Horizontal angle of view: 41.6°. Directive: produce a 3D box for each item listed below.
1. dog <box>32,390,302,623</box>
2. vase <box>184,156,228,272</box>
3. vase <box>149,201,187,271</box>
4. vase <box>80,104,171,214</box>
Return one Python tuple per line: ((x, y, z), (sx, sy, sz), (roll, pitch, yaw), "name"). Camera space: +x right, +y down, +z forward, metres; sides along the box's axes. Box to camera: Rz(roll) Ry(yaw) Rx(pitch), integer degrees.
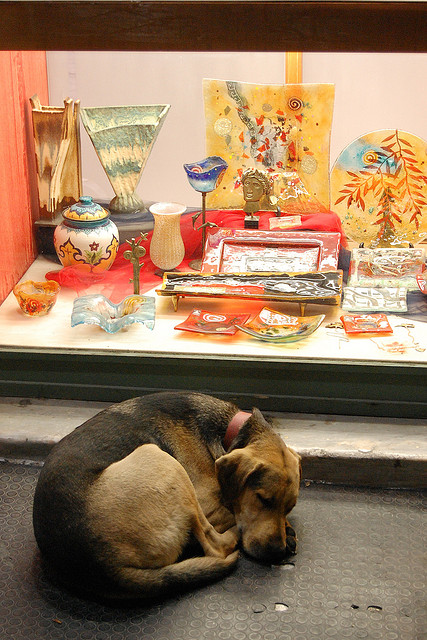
((-0.054, 0.288, 0.979), (0.416, 0.194, 0.316), (-9, 9, -43), "dog")
((-0.021, -0.308, 1.643), (0.114, 0.327, 0.229), (0, 15, 0), "vase")
((-0.130, -0.249, 1.683), (0.114, 0.210, 0.094), (-4, 16, -15), "vase")
((-0.236, -0.456, 1.641), (0.288, 0.301, 0.218), (3, 15, 12), "vase")
